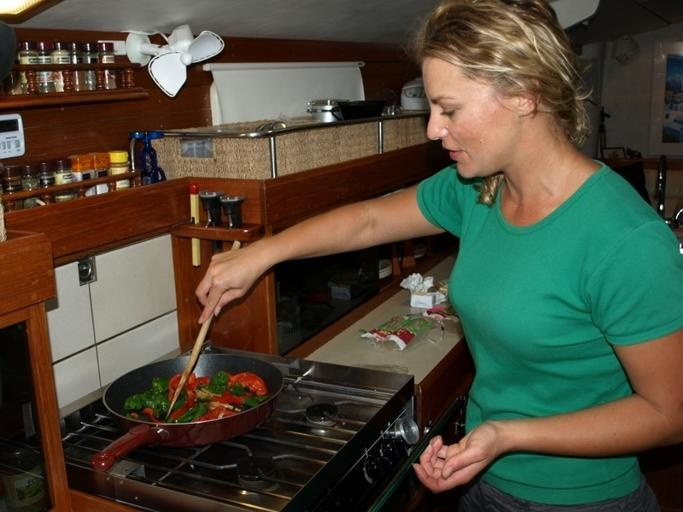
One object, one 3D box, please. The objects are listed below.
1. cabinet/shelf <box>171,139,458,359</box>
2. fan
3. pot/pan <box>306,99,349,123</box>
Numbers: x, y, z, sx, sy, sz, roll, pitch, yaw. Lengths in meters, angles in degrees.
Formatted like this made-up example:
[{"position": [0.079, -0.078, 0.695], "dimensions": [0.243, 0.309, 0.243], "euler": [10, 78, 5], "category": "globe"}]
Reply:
[{"position": [-0.117, -0.011, 1.616], "dimensions": [0.249, 0.282, 0.882], "euler": [11, 24, 29], "category": "cabinet/shelf"}, {"position": [-0.559, -0.642, 1.657], "dimensions": [0.293, 0.160, 0.227], "euler": [-18, 53, -39], "category": "fan"}, {"position": [-0.053, -0.521, 1.871], "dimensions": [0.133, 0.057, 0.141], "euler": [12, 18, 40], "category": "pot/pan"}]
